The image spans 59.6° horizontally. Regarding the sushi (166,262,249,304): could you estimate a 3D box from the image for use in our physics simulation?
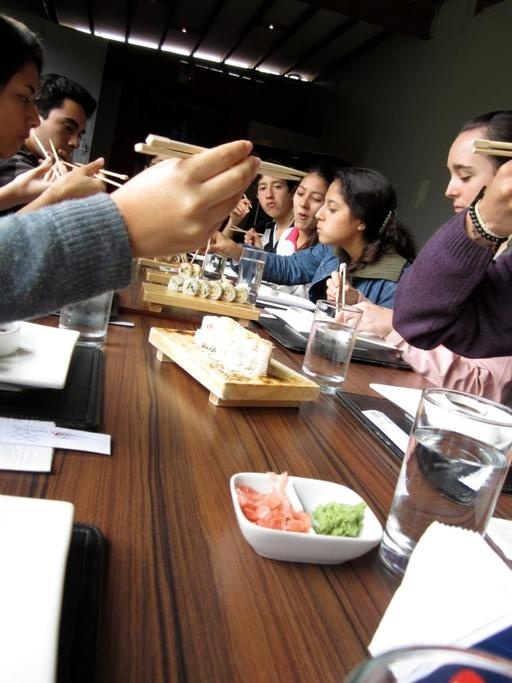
[{"bbox_3d":[-0.207,-0.224,1.621,0.176,0.148,0.301,14,15,39],"label":"sushi"}]
